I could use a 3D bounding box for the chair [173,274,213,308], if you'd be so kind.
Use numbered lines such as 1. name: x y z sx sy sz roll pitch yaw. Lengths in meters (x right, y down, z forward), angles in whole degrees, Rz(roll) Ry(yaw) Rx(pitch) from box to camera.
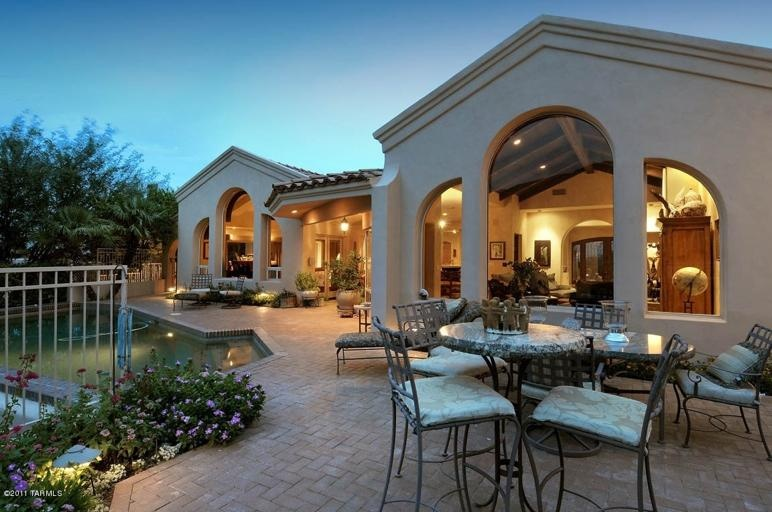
1. chair: -6.921 1.139 16.829 0.961 1.248 1.703 0 -3 -7

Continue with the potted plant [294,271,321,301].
1. potted plant: -2.699 0.984 16.642 0.937 1.092 0.957 -4 -4 32

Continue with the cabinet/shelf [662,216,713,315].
1. cabinet/shelf: 5.749 0.121 8.974 0.974 1.898 0.448 -2 -3 21

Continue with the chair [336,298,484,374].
1. chair: 0.152 1.480 9.682 2.401 2.030 1.434 1 -4 -10

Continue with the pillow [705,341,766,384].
1. pillow: 4.820 1.492 6.495 0.210 0.503 0.482 34 -14 -20

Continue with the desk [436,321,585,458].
1. desk: 1.410 1.390 5.637 1.304 0.960 1.296 -2 5 -29

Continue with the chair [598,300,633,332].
1. chair: 3.368 0.864 6.946 0.534 0.601 0.492 1 0 40
